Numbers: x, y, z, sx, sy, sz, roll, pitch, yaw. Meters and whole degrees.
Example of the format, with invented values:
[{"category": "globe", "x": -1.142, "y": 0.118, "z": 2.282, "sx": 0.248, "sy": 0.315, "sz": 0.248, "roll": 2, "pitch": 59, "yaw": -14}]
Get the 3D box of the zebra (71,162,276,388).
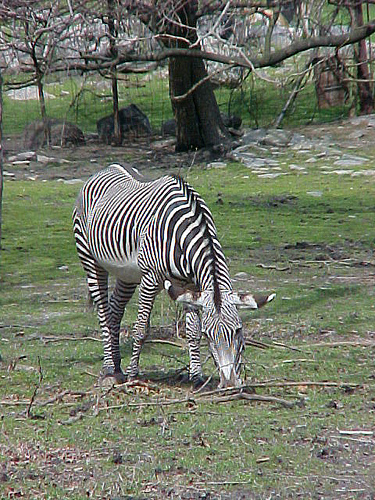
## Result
[{"category": "zebra", "x": -0.185, "y": 0.178, "z": 5.548, "sx": 0.982, "sy": 1.654, "sz": 3.013, "roll": -2, "pitch": 7, "yaw": -19}]
